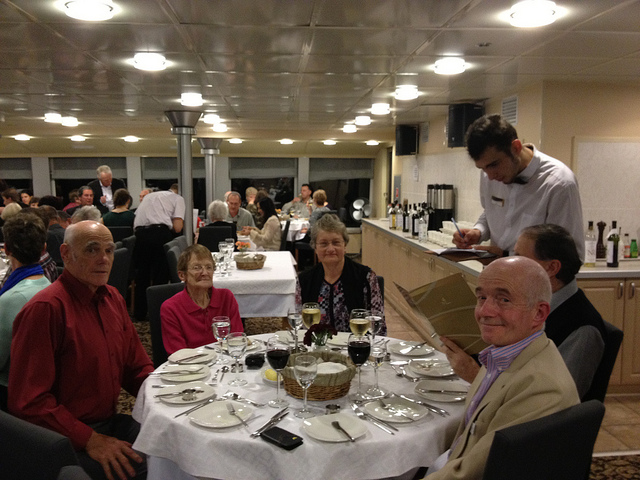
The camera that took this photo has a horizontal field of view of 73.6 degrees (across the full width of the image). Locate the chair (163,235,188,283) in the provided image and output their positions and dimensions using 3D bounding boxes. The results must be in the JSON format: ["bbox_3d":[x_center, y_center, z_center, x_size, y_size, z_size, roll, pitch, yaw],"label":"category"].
[{"bbox_3d":[-1.462,0.205,4.325,0.177,0.232,0.565,-1,12,-13],"label":"chair"}]

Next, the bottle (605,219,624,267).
[{"bbox_3d":[2.595,0.017,3.876,0.125,0.400,0.129,8,8,-1],"label":"bottle"}]

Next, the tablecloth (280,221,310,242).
[{"bbox_3d":[-0.506,-0.182,8.809,0.493,0.196,0.492,-2,17,-12],"label":"tablecloth"}]

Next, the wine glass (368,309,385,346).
[{"bbox_3d":[0.264,0.453,2.115,0.089,0.220,0.092,3,9,20],"label":"wine glass"}]

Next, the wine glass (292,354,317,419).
[{"bbox_3d":[-0.054,0.557,1.643,0.099,0.217,0.096,0,-6,3],"label":"wine glass"}]

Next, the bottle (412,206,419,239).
[{"bbox_3d":[1.333,-0.212,5.972,0.085,0.345,0.323,1,10,12],"label":"bottle"}]

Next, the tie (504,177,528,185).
[{"bbox_3d":[1.268,-0.380,2.741,0.075,0.021,0.074,-3,-1,5],"label":"tie"}]

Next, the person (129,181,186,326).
[{"bbox_3d":[-2.246,0.113,6.064,0.695,1.971,0.694,-1,-16,-4],"label":"person"}]

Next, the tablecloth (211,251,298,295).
[{"bbox_3d":[-0.649,0.295,4.491,0.773,0.288,1.190,-2,9,-6],"label":"tablecloth"}]

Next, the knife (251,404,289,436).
[{"bbox_3d":[-0.185,0.691,1.645,0.034,0.012,0.237,13,16,27],"label":"knife"}]

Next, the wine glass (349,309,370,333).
[{"bbox_3d":[0.187,0.394,2.084,0.100,0.117,0.103,1,-2,3],"label":"wine glass"}]

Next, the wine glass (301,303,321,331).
[{"bbox_3d":[-0.040,0.407,2.236,0.110,0.187,0.119,0,-1,1],"label":"wine glass"}]

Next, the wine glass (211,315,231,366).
[{"bbox_3d":[-0.504,0.514,2.210,0.082,0.245,0.327,-4,10,-14],"label":"wine glass"}]

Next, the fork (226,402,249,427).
[{"bbox_3d":[-0.339,0.667,1.741,0.035,0.030,0.253,-2,13,-22],"label":"fork"}]

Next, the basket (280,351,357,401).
[{"bbox_3d":[-0.034,0.587,1.902,0.254,0.109,0.287,-11,4,-17],"label":"basket"}]

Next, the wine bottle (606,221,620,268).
[{"bbox_3d":[2.625,0.091,3.846,0.088,0.284,0.184,5,12,32],"label":"wine bottle"}]

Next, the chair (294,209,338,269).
[{"bbox_3d":[-0.291,0.023,8.779,0.702,0.987,0.738,0,-1,38],"label":"chair"}]

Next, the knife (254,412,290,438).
[{"bbox_3d":[-0.178,0.684,1.625,0.024,0.005,0.215,19,15,25],"label":"knife"}]

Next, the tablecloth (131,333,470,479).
[{"bbox_3d":[-0.115,0.754,1.779,1.427,0.185,0.606,0,10,8],"label":"tablecloth"}]

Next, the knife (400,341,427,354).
[{"bbox_3d":[0.542,0.603,2.447,0.048,0.015,0.335,15,9,24],"label":"knife"}]
